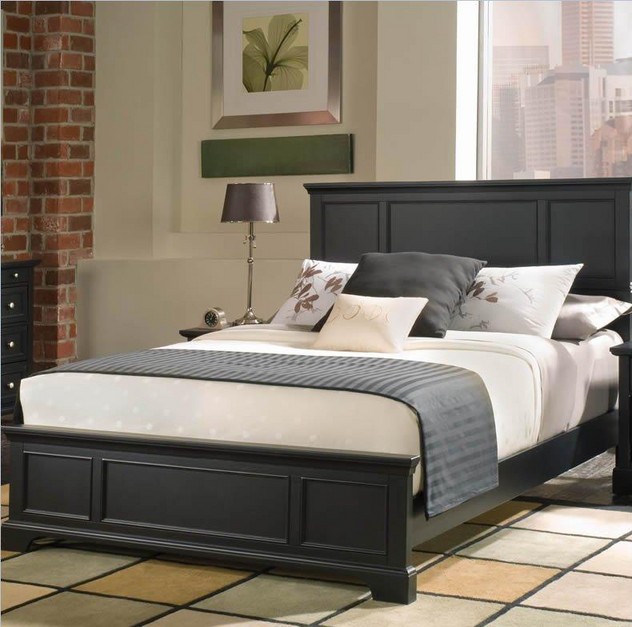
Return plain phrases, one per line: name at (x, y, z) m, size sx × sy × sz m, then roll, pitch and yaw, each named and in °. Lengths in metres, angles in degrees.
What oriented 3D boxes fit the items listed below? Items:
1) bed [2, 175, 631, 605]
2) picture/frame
bed at (0.223, 0.252, 2.829) m, size 1.677 × 1.205 × 2.173 m, roll 1°, pitch 2°, yaw 35°
picture/frame at (-0.222, -1.682, 4.807) m, size 1.073 × 0.893 × 0.043 m, roll 1°, pitch 1°, yaw 22°
